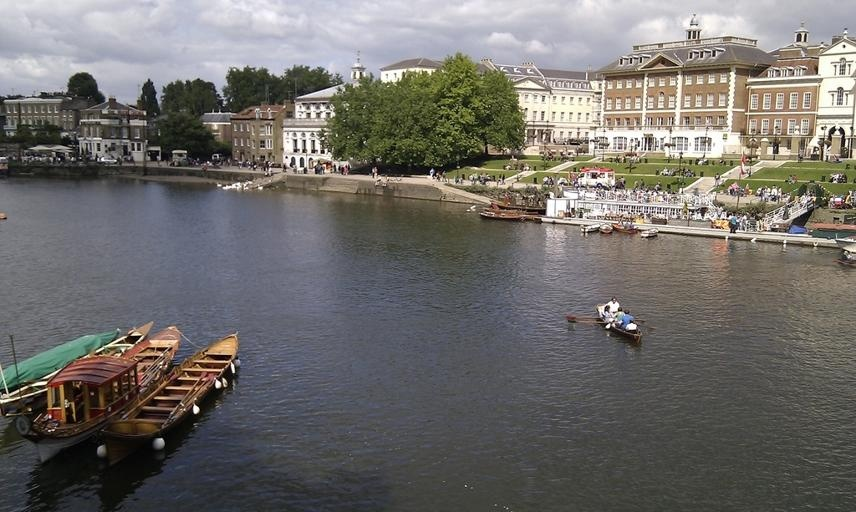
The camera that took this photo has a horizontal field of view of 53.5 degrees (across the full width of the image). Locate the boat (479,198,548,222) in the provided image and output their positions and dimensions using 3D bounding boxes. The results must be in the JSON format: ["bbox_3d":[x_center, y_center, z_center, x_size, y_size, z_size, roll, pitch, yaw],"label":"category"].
[{"bbox_3d":[13.031,-6.508,123.424,7.587,1.656,3.617,4,26,7],"label":"boat"}]

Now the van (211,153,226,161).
[{"bbox_3d":[-50.673,-23.212,204.330,3.340,2.387,2.198,0,17,4],"label":"van"}]
